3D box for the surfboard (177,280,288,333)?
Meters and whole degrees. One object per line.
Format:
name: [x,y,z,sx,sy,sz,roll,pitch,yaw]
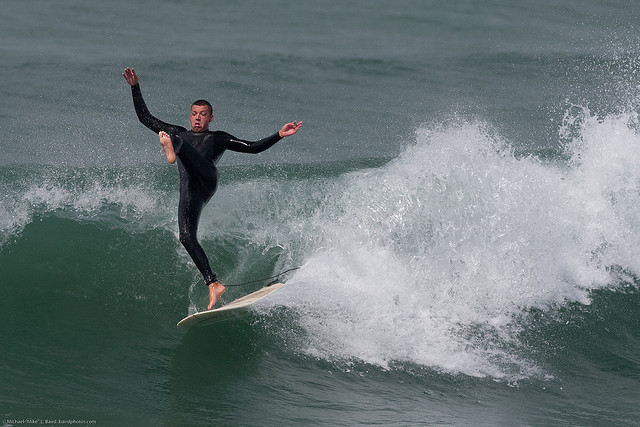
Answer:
surfboard: [-1.672,1.826,16.064,2.972,0.729,0.411,-12,85,-31]
